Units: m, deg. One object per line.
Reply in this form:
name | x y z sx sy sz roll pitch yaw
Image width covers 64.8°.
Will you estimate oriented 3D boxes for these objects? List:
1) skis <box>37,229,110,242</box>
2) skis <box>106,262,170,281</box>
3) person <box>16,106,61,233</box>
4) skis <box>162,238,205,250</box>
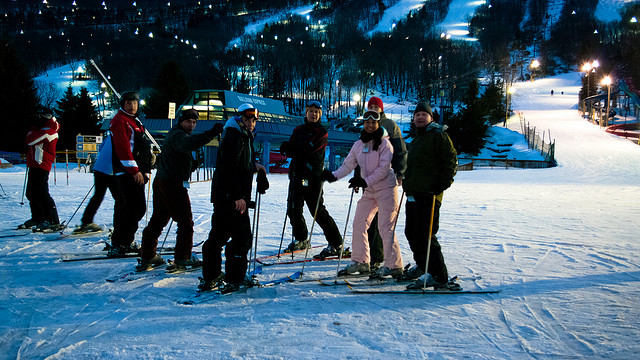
skis | -8.384 1.857 16.919 1.961 0.269 0.138 -7 0 -7
skis | -5.530 2.771 15.280 1.761 0.216 0.092 -14 -1 -18
person | -9.656 -0.370 17.238 1.201 4.238 1.218 5 8 43
skis | -4.417 2.025 16.019 1.433 0.199 0.295 -10 -9 29
